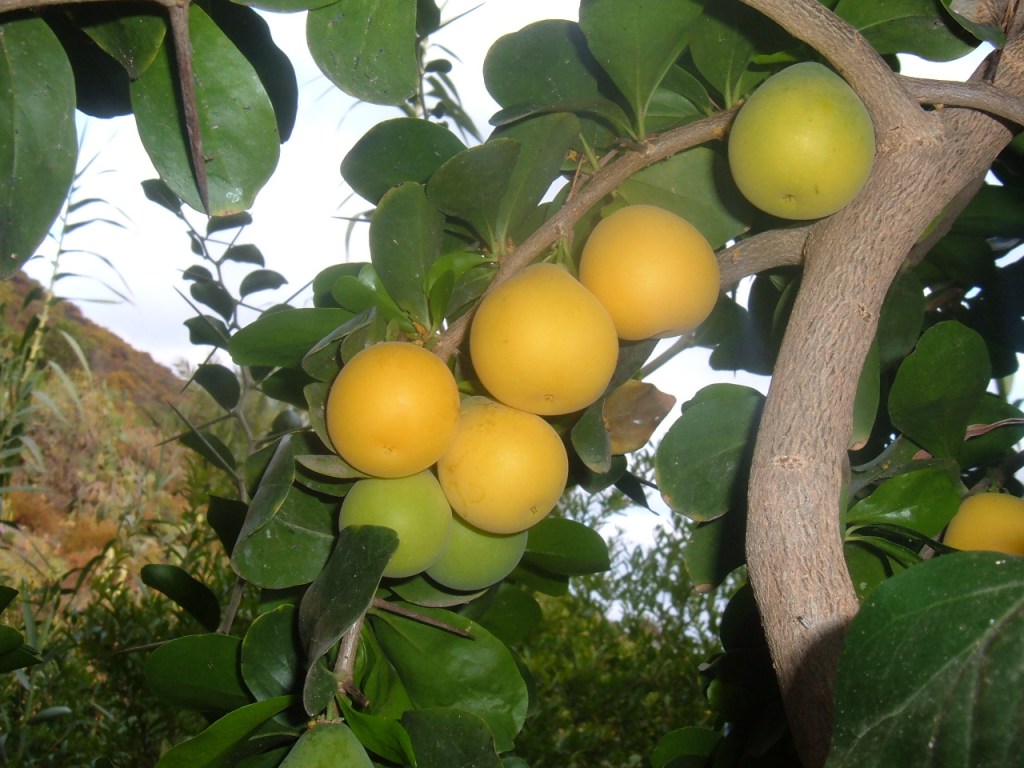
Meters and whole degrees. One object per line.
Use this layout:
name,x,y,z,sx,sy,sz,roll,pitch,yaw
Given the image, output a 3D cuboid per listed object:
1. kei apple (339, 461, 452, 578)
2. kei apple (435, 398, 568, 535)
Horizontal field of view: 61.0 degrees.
kei apple,-0.107,0.141,0.984,0.111,0.131,0.110,37,-92,5
kei apple,-0.017,0.086,0.934,0.102,0.085,0.091,36,-57,2
